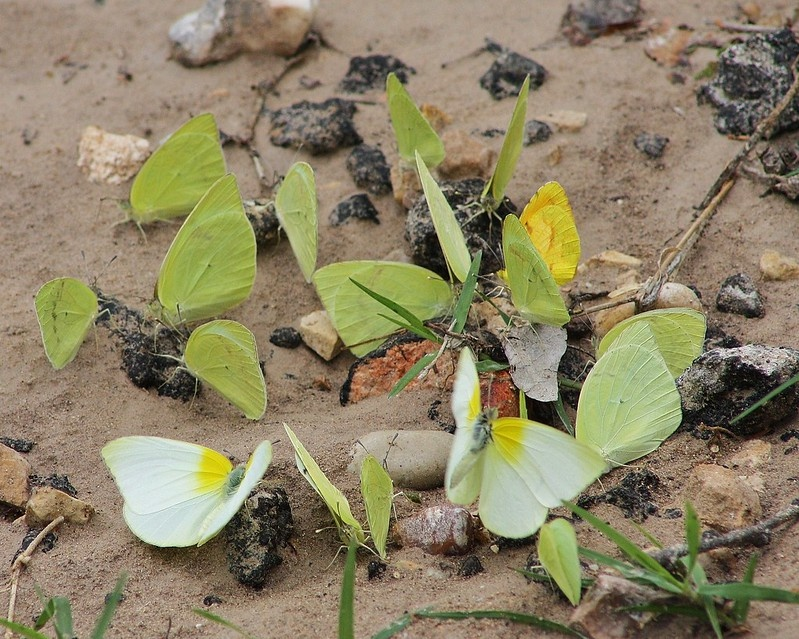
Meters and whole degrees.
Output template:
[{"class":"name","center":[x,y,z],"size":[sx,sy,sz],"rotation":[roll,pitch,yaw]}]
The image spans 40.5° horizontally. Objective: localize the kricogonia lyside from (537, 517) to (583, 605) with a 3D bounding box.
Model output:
[{"class":"kricogonia lyside","center":[0.746,1.139,5.053],"size":[0.177,0.086,0.473],"rotation":[-9,36,-1]}]

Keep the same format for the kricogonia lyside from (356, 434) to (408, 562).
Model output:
[{"class":"kricogonia lyside","center":[-0.144,0.852,5.512],"size":[0.283,0.124,0.314],"rotation":[-58,44,15]}]
